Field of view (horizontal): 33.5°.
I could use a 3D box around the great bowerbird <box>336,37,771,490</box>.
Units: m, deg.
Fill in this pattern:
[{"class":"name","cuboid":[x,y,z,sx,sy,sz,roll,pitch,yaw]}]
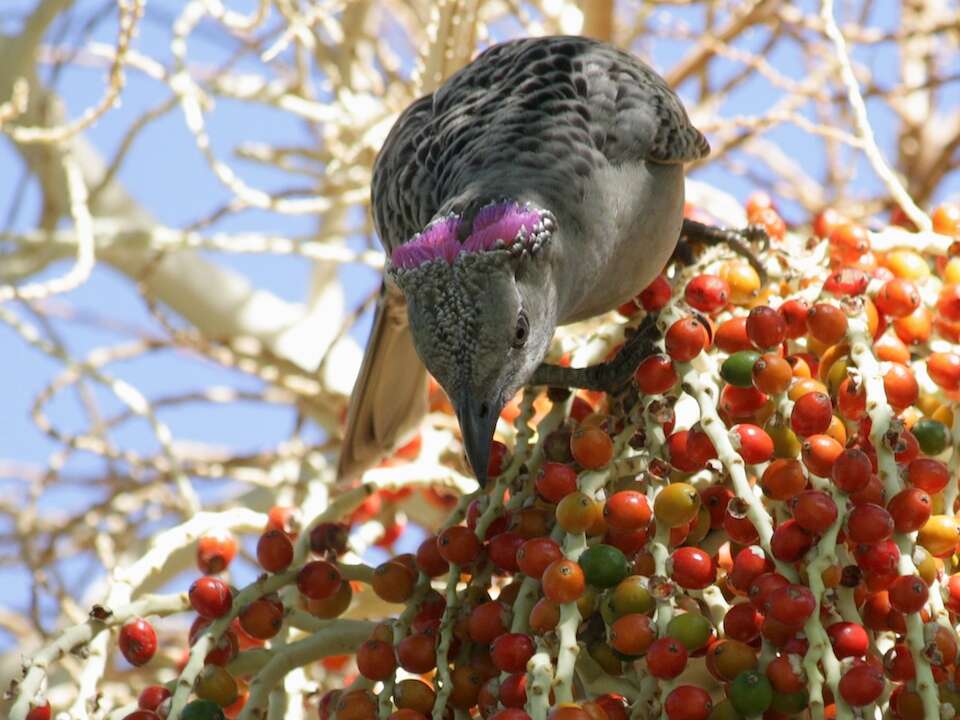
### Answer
[{"class":"great bowerbird","cuboid":[0.161,-0.443,4.624,0.651,1.014,1.543,53,21,-35]}]
